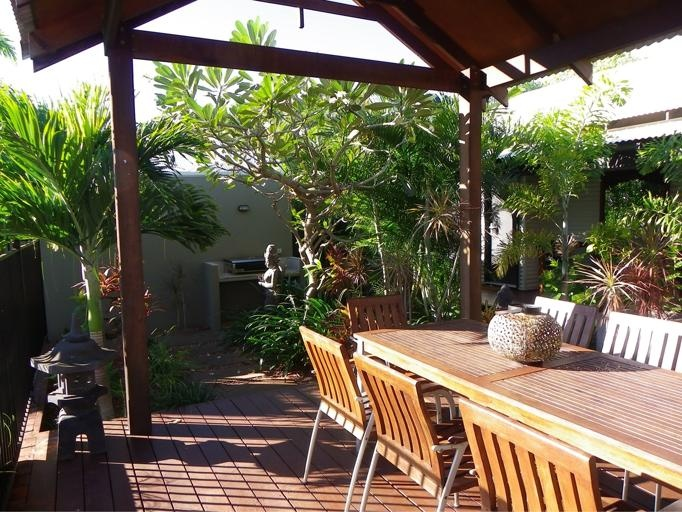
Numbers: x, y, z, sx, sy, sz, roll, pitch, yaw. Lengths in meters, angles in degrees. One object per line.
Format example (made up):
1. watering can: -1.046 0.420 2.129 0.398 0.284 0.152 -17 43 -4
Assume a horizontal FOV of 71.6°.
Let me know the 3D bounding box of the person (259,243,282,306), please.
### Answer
1. person: -0.990 0.253 6.720 0.298 0.835 0.463 -3 4 -17
